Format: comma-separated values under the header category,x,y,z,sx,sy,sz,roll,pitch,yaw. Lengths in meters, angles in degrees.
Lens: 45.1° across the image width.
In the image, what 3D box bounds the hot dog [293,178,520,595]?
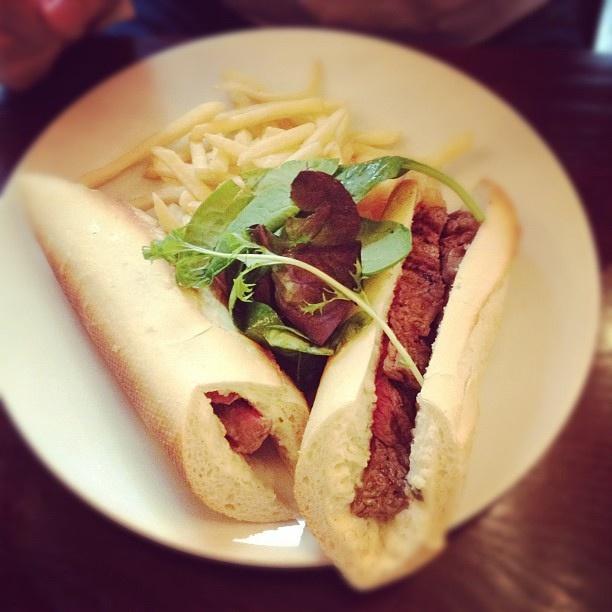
category,x,y,z,sx,sy,sz,roll,pitch,yaw
hot dog,0.185,0.168,1.439,0.305,0.170,0.767,13,69,10

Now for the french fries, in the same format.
category,x,y,z,sx,sy,sz,roll,pitch,yaw
french fries,-0.094,-0.345,1.549,0.798,0.110,0.297,7,87,1

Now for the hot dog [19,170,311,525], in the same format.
category,x,y,z,sx,sy,sz,roll,pitch,yaw
hot dog,-0.278,0.067,1.500,0.272,0.246,0.882,-36,70,-7
